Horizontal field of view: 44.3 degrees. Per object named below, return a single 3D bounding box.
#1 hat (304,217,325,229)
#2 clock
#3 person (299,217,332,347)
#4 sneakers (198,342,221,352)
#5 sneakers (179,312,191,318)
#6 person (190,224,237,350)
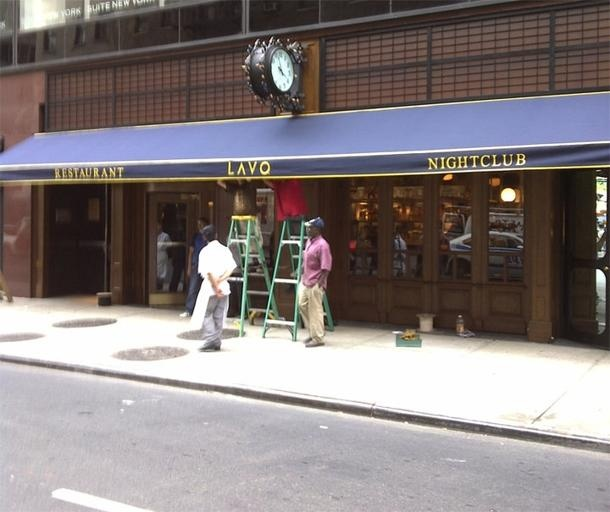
[{"bbox_3d":[0.149,-0.554,12.298,0.267,0.201,0.194,-3,1,11],"label":"hat"},{"bbox_3d":[-0.495,-3.164,13.184,0.461,1.236,1.337,4,8,32],"label":"clock"},{"bbox_3d":[0.140,0.399,12.237,0.464,2.019,0.667,-4,7,-30],"label":"person"},{"bbox_3d":[-1.466,1.404,11.682,0.243,0.125,0.147,5,-3,-7],"label":"sneakers"},{"bbox_3d":[-2.412,1.153,15.137,0.219,0.113,0.097,2,0,3],"label":"sneakers"},{"bbox_3d":[-1.406,0.496,11.666,0.592,1.906,0.761,1,6,9],"label":"person"}]
